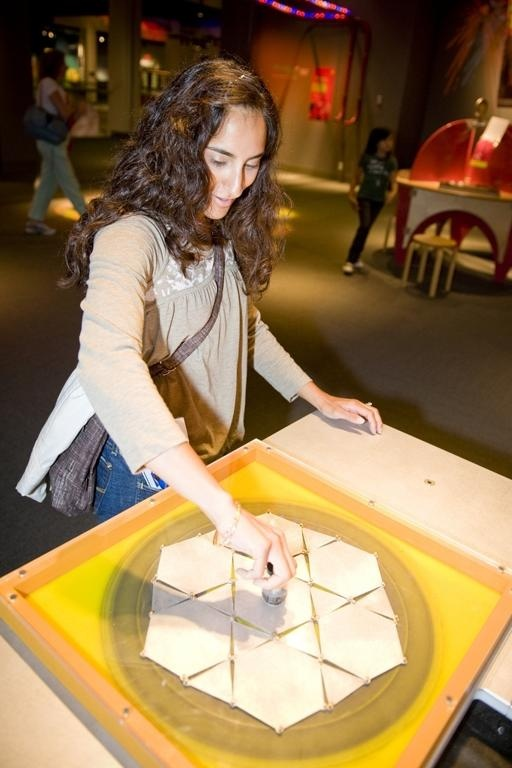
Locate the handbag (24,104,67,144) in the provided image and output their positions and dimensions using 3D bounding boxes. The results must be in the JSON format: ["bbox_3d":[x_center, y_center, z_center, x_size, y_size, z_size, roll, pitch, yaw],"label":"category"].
[{"bbox_3d":[-1.959,-2.367,5.208,0.385,0.309,0.168,27,23,-3],"label":"handbag"}]

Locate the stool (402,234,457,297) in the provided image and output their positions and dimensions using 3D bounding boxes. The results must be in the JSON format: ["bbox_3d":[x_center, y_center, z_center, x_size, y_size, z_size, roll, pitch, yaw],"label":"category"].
[{"bbox_3d":[1.570,-1.074,5.229,0.477,0.577,0.517,13,44,15],"label":"stool"}]

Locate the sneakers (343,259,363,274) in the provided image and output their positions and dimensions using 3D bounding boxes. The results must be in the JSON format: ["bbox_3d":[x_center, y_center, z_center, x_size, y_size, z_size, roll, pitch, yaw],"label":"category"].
[{"bbox_3d":[0.893,-1.079,5.303,0.100,0.093,0.222,21,29,23],"label":"sneakers"}]

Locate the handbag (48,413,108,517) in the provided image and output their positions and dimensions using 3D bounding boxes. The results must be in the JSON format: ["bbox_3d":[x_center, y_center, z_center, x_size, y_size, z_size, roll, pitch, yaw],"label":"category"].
[{"bbox_3d":[-0.349,0.150,1.115,0.080,0.238,0.089,30,46,1],"label":"handbag"}]

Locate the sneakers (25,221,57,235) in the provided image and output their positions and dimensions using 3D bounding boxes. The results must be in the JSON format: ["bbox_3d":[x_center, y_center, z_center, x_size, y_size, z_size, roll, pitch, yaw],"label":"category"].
[{"bbox_3d":[-2.094,-1.505,5.577,0.345,0.147,0.129,-3,49,-13],"label":"sneakers"}]
